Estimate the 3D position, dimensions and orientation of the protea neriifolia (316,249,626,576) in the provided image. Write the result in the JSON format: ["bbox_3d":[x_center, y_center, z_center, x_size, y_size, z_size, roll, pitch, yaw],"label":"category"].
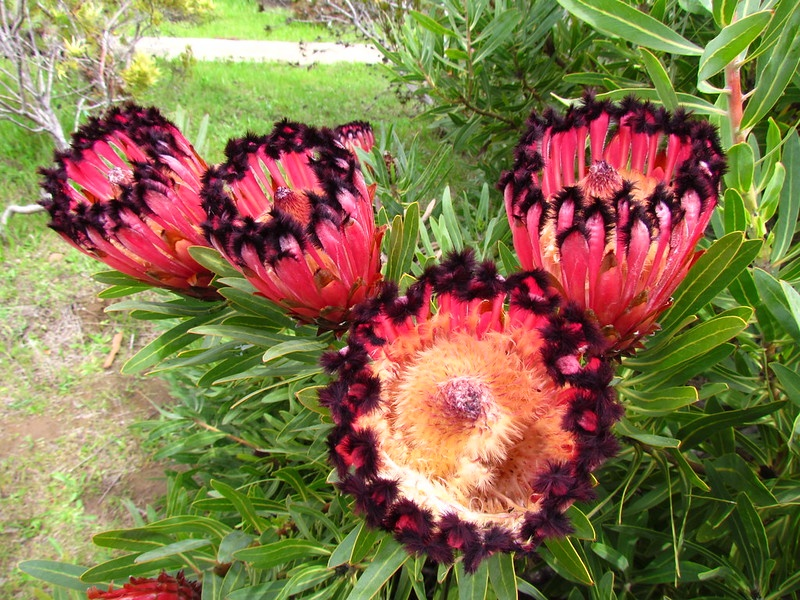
[{"bbox_3d":[0.147,0.230,1.488,0.623,0.227,0.642,25,78,13],"label":"protea neriifolia"}]
